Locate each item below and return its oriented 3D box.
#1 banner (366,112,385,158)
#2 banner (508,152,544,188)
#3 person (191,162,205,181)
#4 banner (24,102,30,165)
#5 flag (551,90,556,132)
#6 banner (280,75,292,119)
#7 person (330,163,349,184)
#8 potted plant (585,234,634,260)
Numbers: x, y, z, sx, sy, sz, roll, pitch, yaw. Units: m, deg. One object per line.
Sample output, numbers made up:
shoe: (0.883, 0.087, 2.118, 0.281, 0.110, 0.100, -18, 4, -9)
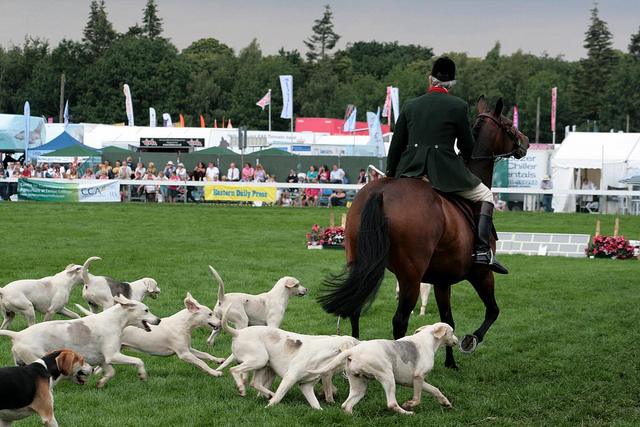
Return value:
banner: (3.695, -5.450, 74.113, 1.093, 4.828, 0.440, -18, -40, 21)
banner: (12.003, -2.443, 65.857, 2.010, 2.143, 0.099, 0, 1, 1)
person: (-7.119, -2.597, 68.099, 0.471, 0.623, 1.431, -3, 39, 12)
banner: (-20.482, -5.688, 79.910, 0.257, 4.090, 5.849, 1, 4, -15)
flag: (20.119, -8.756, 97.145, 0.303, 3.422, 1.698, 3, 4, 14)
banner: (-2.230, -8.040, 78.437, 0.729, 2.881, 2.599, 2, 4, -3)
person: (1.286, -2.273, 67.649, 0.873, 1.209, 1.173, -16, -13, 21)
potted plant: (14.379, 1.703, 55.928, 1.383, 0.949, 1.363, -1, 6, -40)
